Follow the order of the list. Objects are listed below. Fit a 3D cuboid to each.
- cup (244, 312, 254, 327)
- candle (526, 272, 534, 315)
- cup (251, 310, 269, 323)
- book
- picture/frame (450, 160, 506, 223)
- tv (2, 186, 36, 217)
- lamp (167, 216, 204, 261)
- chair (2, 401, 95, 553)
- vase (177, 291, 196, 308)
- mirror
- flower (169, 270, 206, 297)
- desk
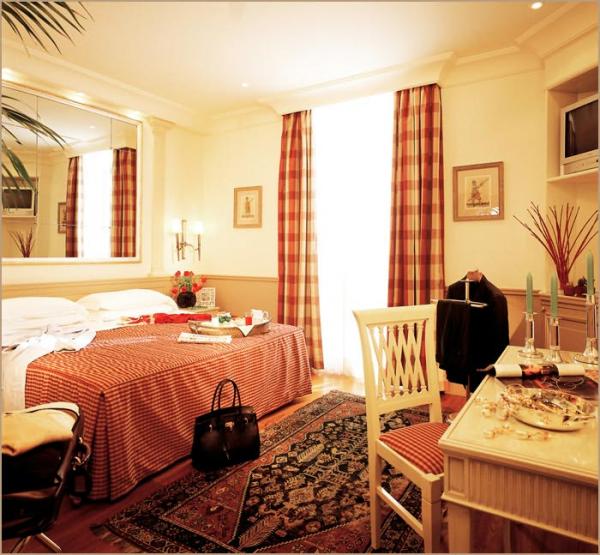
[{"bbox_3d":[-0.409,0.353,3.817,0.065,0.116,0.067,1,-6,0],"label":"cup"},{"bbox_3d":[1.052,0.075,2.111,0.028,0.191,0.108,3,7,26],"label":"candle"},{"bbox_3d":[-0.330,0.337,3.953,0.083,0.130,0.139,-6,-9,39],"label":"cup"},{"bbox_3d":[1.046,0.427,1.958,0.328,0.054,0.195,1,23,7],"label":"book"},{"bbox_3d":[1.583,-0.749,4.051,0.519,0.699,0.025,0,1,33],"label":"picture/frame"},{"bbox_3d":[-2.453,-0.663,4.056,0.260,0.262,0.158,-5,8,-36],"label":"tv"},{"bbox_3d":[-1.363,-0.444,5.606,0.120,0.508,0.544,2,7,18],"label":"lamp"},{"bbox_3d":[-0.969,0.801,1.800,0.278,0.581,0.510,-3,7,-26],"label":"chair"},{"bbox_3d":[-1.233,0.242,5.036,0.156,0.134,0.182,4,8,22],"label":"vase"},{"bbox_3d":[-2.123,-1.003,4.261,0.079,1.878,1.692,0,-2,27],"label":"mirror"},{"bbox_3d":[-1.294,0.065,5.236,0.301,0.239,0.316,3,-2,-10],"label":"flower"},{"bbox_3d":[0.743,0.687,1.569,0.450,0.398,0.436,4,8,32],"label":"desk"}]
